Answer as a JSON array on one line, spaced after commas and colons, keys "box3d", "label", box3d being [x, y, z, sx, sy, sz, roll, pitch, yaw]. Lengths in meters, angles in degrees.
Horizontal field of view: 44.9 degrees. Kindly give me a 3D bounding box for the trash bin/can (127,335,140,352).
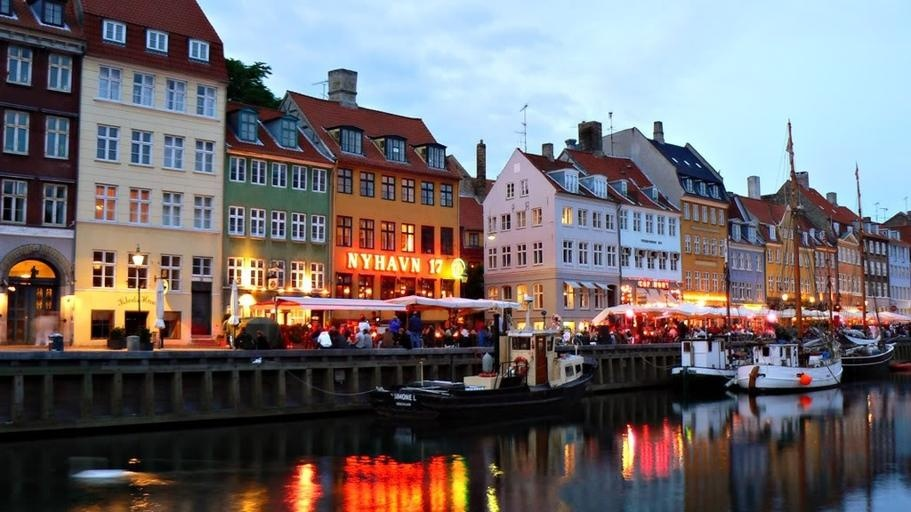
[{"box3d": [-18.802, 4.908, 63.491, 0.805, 0.867, 0.790, 0, -7, 3], "label": "trash bin/can"}]
